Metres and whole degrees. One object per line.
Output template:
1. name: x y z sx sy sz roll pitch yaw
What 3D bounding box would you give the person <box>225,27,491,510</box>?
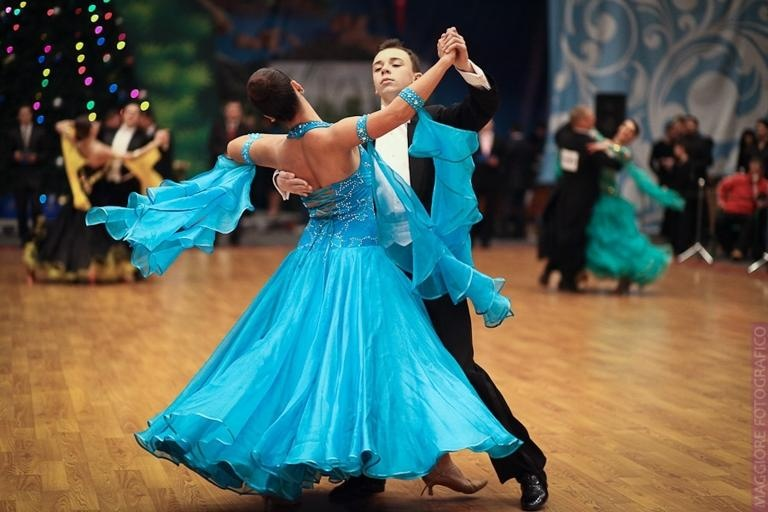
1. person: -0.151 0.065 3.839 1.343 2.305 0.596 1 11 7
